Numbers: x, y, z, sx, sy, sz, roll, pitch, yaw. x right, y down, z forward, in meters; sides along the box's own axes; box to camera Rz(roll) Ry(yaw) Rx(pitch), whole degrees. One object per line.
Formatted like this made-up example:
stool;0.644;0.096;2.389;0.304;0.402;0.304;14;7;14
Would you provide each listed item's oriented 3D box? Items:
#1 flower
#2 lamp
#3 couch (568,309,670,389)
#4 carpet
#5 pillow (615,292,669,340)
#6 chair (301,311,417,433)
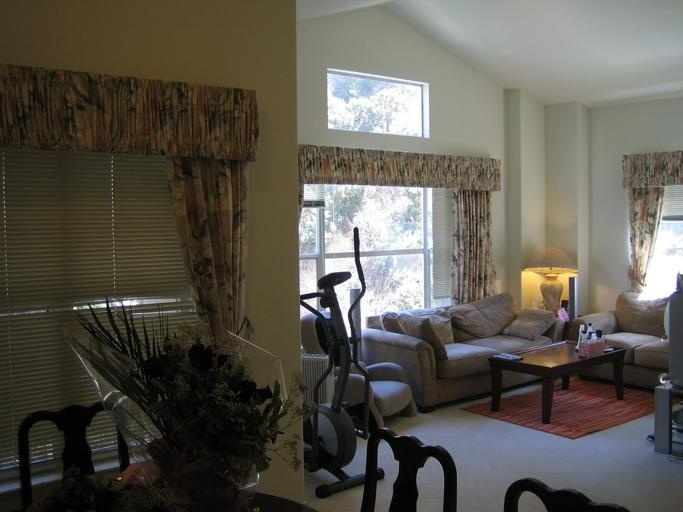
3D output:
flower;-0.529;0.462;2.044;0.753;0.577;0.400;0;6;7
lamp;2.866;0.347;7.678;0.740;1.018;0.779;1;-3;-16
couch;3.503;1.021;6.634;0.828;0.701;0.798;-1;-4;43
carpet;2.402;1.589;5.828;2.057;0.074;1.197;-4;7;-26
pillow;3.732;0.761;6.848;0.514;0.213;0.437;1;51;43
chair;0.160;1.058;5.503;1.139;1.428;0.922;-3;-1;33
